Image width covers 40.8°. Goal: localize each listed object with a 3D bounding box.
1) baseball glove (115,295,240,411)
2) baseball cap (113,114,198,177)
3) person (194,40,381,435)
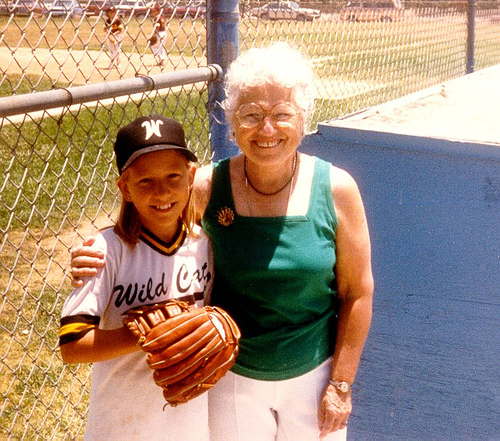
[{"bbox_3d":[-0.203,0.418,2.480,0.387,0.195,0.328,26,39,-30],"label":"baseball glove"},{"bbox_3d":[-0.364,-0.302,2.458,0.195,0.153,0.260,-17,0,-15],"label":"baseball cap"},{"bbox_3d":[0.142,0.103,2.744,0.704,1.462,0.716,-5,26,-1],"label":"person"}]
